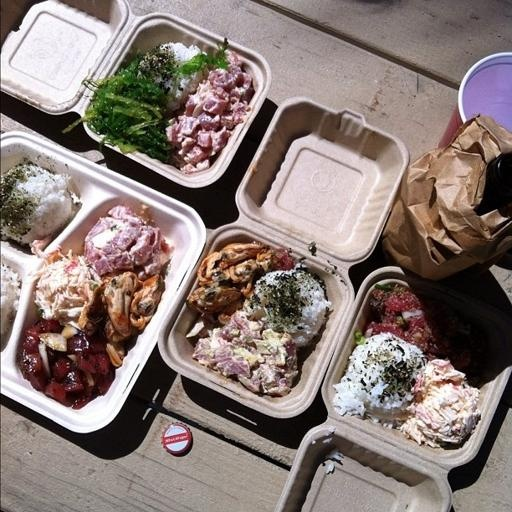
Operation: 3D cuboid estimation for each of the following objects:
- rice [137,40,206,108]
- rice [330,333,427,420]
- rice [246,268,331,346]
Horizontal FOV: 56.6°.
[{"bbox_3d":[-0.302,-0.670,1.717,0.229,0.130,0.234,-13,74,-3],"label":"rice"},{"bbox_3d":[0.374,0.382,1.459,0.204,0.105,0.207,-13,45,-9],"label":"rice"},{"bbox_3d":[0.110,0.139,1.544,0.252,0.120,0.231,28,76,9],"label":"rice"}]
